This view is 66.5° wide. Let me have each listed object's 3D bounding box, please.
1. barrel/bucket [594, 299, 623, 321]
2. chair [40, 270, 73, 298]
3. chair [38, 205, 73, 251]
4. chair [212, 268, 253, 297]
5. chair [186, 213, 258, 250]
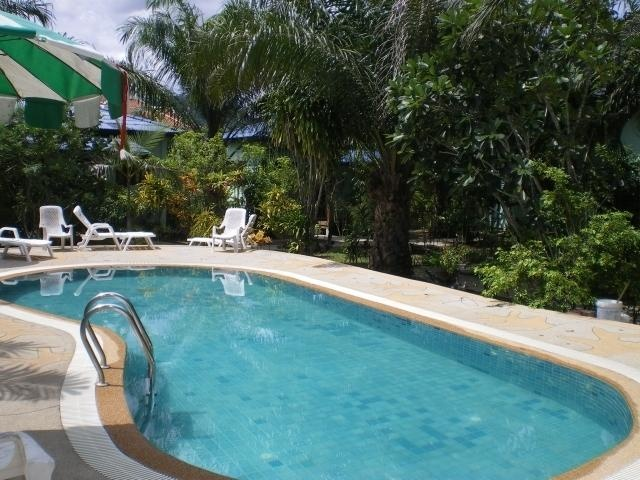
[{"bbox_3d":[4.615,1.088,7.804,0.341,0.377,0.335,0,-2,0],"label":"barrel/bucket"},{"bbox_3d":[-5.727,0.942,10.455,0.710,0.720,0.532,1,-4,-6],"label":"chair"},{"bbox_3d":[-7.851,-0.315,14.530,0.855,1.201,0.844,-3,7,-32],"label":"chair"},{"bbox_3d":[-2.053,0.969,11.061,0.586,0.917,0.649,-2,-10,1],"label":"chair"},{"bbox_3d":[-2.941,-0.330,16.205,1.215,1.721,2.605,3,0,20],"label":"chair"}]
